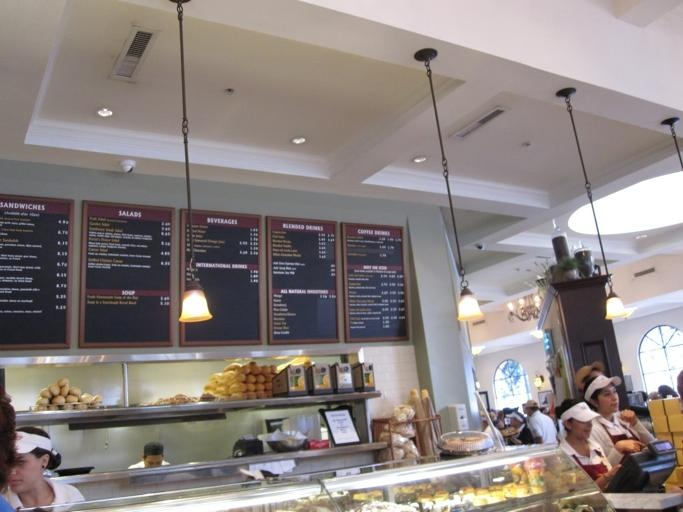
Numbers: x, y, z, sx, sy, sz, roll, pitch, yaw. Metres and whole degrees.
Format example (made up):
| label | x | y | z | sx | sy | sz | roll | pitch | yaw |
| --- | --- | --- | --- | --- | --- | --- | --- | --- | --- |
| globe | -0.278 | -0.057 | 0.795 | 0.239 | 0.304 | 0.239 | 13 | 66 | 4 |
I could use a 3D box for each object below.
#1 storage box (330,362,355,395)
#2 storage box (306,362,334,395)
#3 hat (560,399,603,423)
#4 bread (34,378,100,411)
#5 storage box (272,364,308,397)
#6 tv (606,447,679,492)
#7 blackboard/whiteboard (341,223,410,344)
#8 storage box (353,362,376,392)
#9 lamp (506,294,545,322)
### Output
| label | x | y | z | sx | sy | sz | roll | pitch | yaw |
| --- | --- | --- | --- | --- | --- | --- | --- | --- | --- |
| storage box | 0.004 | 1.116 | 4.523 | 0.197 | 0.295 | 0.239 | 4 | -19 | -21 |
| storage box | -0.192 | 1.109 | 4.450 | 0.176 | 0.297 | 0.304 | 1 | -17 | -16 |
| hat | 1.524 | 1.006 | 3.163 | 0.187 | 0.078 | 0.117 | -17 | -20 | 39 |
| bread | -2.078 | 1.050 | 3.746 | 0.436 | 0.245 | 0.304 | 0 | -16 | -25 |
| storage box | -0.458 | 1.106 | 4.344 | 0.217 | 0.273 | 0.360 | 4 | -14 | -23 |
| tv | 1.637 | 1.169 | 2.722 | 0.305 | 0.298 | 0.251 | 14 | -6 | -31 |
| blackboard/whiteboard | 0.344 | 0.270 | 5.175 | 0.737 | 1.217 | 0.142 | 2 | -16 | -29 |
| storage box | 0.208 | 1.138 | 4.608 | 0.184 | 0.314 | 0.263 | 5 | -15 | -28 |
| lamp | 4.999 | 1.475 | 13.506 | 0.541 | 0.683 | 2.586 | -9 | -14 | 11 |
